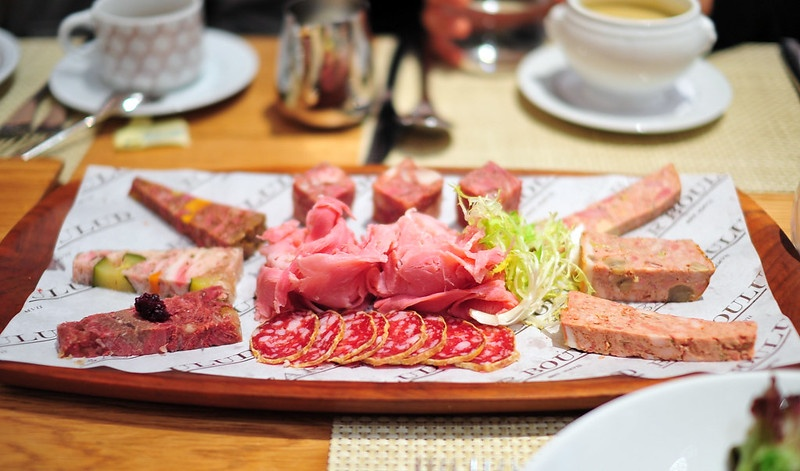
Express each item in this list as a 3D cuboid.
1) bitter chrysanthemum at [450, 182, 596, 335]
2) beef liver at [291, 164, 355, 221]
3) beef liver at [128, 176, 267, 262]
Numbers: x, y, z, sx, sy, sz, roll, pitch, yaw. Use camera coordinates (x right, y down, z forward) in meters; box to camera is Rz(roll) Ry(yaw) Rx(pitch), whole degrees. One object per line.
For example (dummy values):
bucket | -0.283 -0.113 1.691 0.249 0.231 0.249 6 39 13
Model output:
bitter chrysanthemum | 0.542 0.100 3.312 0.354 0.720 0.656 2 92 32
beef liver | -0.411 -0.267 3.598 0.301 0.202 0.298 -26 52 -25
beef liver | -1.086 -0.129 3.569 0.794 0.160 0.309 24 39 14
